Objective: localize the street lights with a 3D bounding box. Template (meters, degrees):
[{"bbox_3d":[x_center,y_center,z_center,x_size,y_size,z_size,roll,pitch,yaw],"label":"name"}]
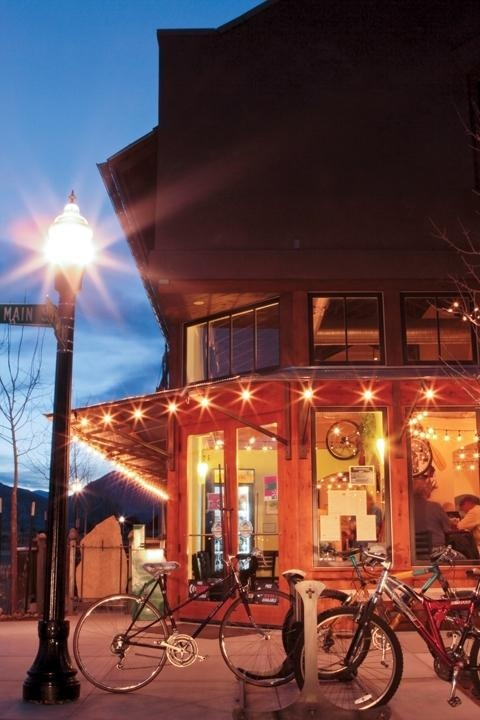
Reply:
[{"bbox_3d":[-1.548,0.553,5.438,0.490,4.333,0.635,2,-12,-18],"label":"street lights"}]

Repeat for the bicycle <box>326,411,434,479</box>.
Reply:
[{"bbox_3d":[2.082,1.266,9.550,1.584,0.985,0.823,-2,-11,7],"label":"bicycle"}]
